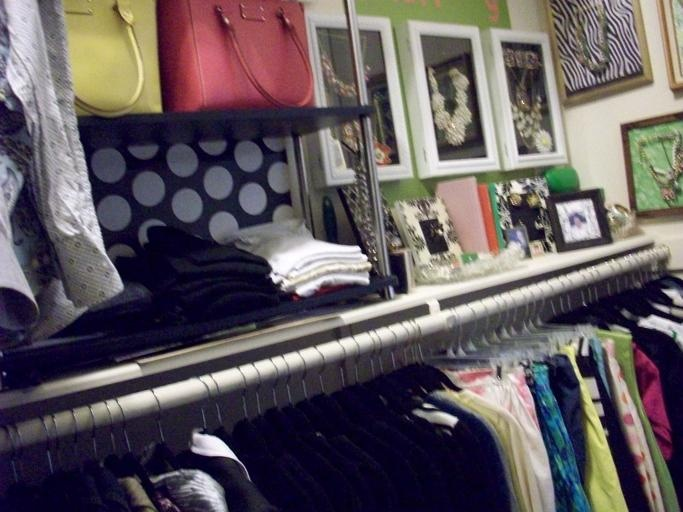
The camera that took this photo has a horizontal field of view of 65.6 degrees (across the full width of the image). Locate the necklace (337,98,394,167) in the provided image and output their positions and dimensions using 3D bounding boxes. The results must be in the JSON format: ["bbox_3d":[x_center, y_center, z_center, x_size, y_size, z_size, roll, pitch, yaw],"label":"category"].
[{"bbox_3d":[0.095,-0.414,1.971,0.060,0.258,0.250,-9,-2,40],"label":"necklace"}]
